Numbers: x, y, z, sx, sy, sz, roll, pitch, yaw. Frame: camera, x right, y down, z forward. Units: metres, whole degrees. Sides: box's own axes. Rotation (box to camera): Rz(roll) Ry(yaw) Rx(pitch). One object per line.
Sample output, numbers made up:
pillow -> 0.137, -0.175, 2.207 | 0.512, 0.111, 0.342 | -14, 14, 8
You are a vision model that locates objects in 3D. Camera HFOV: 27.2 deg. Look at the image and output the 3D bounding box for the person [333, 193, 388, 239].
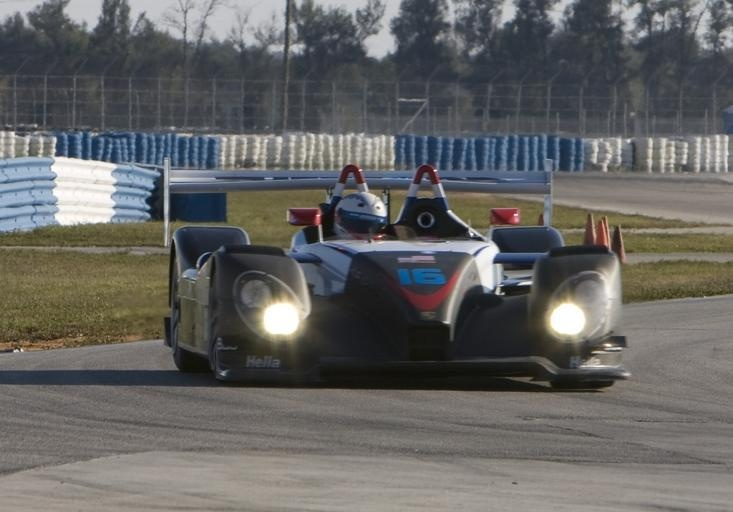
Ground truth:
person -> -0.149, -0.579, 23.651 | 0.755, 0.818, 0.909 | 8, 4, -28
